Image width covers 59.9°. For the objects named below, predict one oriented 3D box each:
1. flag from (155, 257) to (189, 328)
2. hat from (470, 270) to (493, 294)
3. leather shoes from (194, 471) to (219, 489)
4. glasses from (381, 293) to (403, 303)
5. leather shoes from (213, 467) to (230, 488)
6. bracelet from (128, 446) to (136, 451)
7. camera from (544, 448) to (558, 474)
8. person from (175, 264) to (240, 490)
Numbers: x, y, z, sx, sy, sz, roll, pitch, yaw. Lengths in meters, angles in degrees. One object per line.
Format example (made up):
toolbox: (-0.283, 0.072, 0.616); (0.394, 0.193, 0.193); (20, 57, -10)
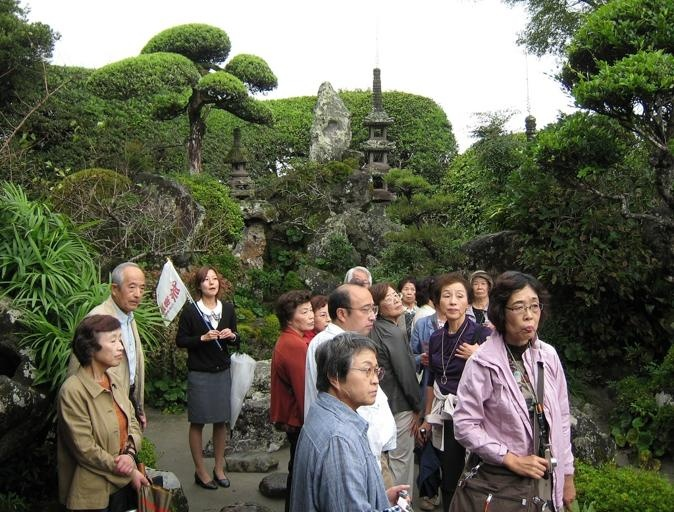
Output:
flag: (-1.586, 0.303, 5.735); (0.269, 0.620, 0.474); (11, -15, -41)
hat: (1.518, 0.279, 6.146); (0.164, 0.246, 0.207); (-9, 26, -14)
leather shoes: (-1.288, 2.230, 5.843); (0.270, 0.136, 0.102); (0, -4, 31)
glasses: (0.473, 0.364, 5.170); (0.121, 0.042, 0.129); (-1, -20, -26)
leather shoes: (-1.157, 2.228, 5.863); (0.082, 0.097, 0.225); (6, -5, -35)
bracelet: (-1.479, 1.398, 4.248); (0.033, 0.009, 0.032); (45, -29, -22)
camera: (1.336, 1.265, 3.645); (0.060, 0.150, 0.141); (-7, -15, 38)
person: (-1.276, 1.204, 5.826); (0.546, 2.123, 0.659); (-1, -11, 15)
